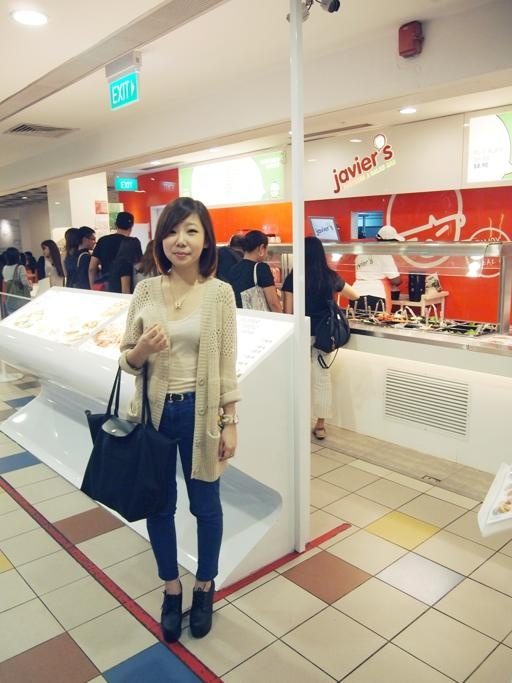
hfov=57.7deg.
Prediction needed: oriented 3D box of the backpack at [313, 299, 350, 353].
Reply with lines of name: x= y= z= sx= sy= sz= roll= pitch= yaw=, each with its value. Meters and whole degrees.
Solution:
backpack: x=0.528 y=-0.099 z=3.336 sx=0.184 sy=0.346 sz=0.341 roll=6 pitch=15 yaw=28

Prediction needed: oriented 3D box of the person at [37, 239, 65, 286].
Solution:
person: x=-3.030 y=-1.146 z=6.944 sx=0.263 sy=0.693 sz=1.322 roll=-2 pitch=4 yaw=-24

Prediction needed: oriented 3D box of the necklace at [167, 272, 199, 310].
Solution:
necklace: x=-0.235 y=-0.150 z=1.444 sx=0.088 sy=0.117 sz=0.028 roll=7 pitch=-9 yaw=15

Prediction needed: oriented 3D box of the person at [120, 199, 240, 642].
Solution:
person: x=-0.226 y=0.281 z=1.437 sx=0.365 sy=1.449 sz=0.317 roll=-2 pitch=4 yaw=-16

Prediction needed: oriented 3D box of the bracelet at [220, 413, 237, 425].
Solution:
bracelet: x=-0.085 y=0.240 z=1.441 sx=0.043 sy=0.029 sz=0.033 roll=-6 pitch=2 yaw=17

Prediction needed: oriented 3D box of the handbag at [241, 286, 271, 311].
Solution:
handbag: x=0.006 y=-0.283 z=3.081 sx=0.155 sy=0.173 sz=0.098 roll=-18 pitch=14 yaw=38

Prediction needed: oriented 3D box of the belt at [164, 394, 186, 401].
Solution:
belt: x=-0.247 y=0.170 z=1.412 sx=0.038 sy=0.009 sz=0.027 roll=-1 pitch=30 yaw=5

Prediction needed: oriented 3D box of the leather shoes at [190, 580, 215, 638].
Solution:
leather shoes: x=-0.175 y=0.907 z=1.601 sx=0.061 sy=0.069 sz=0.180 roll=2 pitch=30 yaw=2

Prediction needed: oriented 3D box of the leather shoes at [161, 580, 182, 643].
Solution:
leather shoes: x=-0.282 y=0.924 z=1.603 sx=0.061 sy=0.070 sz=0.181 roll=0 pitch=26 yaw=-2

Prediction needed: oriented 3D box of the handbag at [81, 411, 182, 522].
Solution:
handbag: x=-0.406 y=0.414 z=1.459 sx=0.318 sy=0.371 sz=0.248 roll=-1 pitch=4 yaw=-2

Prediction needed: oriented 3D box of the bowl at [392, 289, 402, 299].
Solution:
bowl: x=1.041 y=-0.353 z=3.476 sx=0.063 sy=0.063 sz=0.059 roll=-2 pitch=4 yaw=0
